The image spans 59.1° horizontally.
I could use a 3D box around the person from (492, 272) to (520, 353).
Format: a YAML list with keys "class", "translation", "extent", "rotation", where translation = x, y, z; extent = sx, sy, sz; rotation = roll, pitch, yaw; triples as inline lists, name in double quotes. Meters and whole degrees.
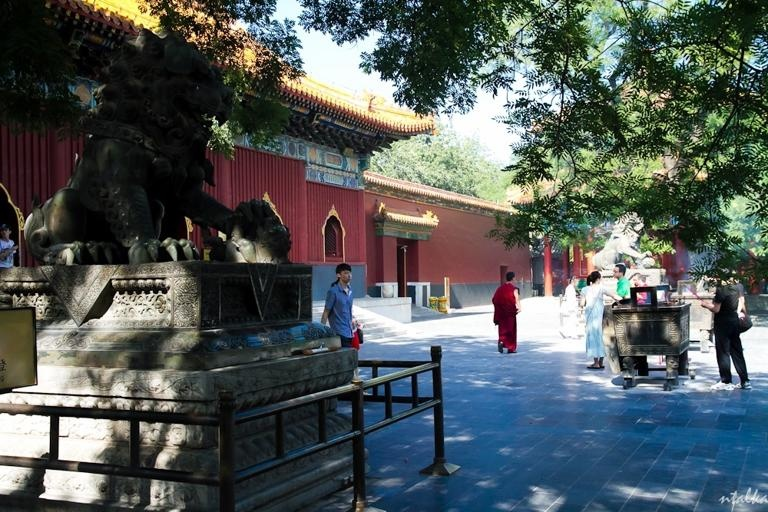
- class: "person"
  translation: [2.349, 1.047, 12.905]
  extent: [0.481, 1.519, 1.717]
  rotation: [-2, -4, 10]

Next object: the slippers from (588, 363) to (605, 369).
- class: "slippers"
  translation: [3.180, 1.669, 10.131]
  extent: [0.249, 0.057, 0.235]
  rotation: [-3, -4, 16]

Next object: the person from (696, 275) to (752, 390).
- class: "person"
  translation: [4.197, 1.002, 8.235]
  extent: [0.491, 1.259, 1.257]
  rotation: [-4, -5, 27]

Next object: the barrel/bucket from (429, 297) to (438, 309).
- class: "barrel/bucket"
  translation: [1.761, 1.664, 23.699]
  extent: [0.333, 0.456, 0.317]
  rotation: [0, -4, 0]

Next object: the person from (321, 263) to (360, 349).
- class: "person"
  translation: [-0.596, 0.657, 8.959]
  extent: [0.422, 1.152, 1.181]
  rotation: [-1, -4, -3]

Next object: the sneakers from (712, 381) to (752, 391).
- class: "sneakers"
  translation: [4.280, 1.608, 8.334]
  extent: [0.430, 0.186, 0.174]
  rotation: [1, -6, 4]

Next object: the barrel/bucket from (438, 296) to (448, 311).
- class: "barrel/bucket"
  translation: [2.054, 1.719, 23.684]
  extent: [0.329, 0.530, 0.626]
  rotation: [-2, -4, 1]

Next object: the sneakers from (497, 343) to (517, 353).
- class: "sneakers"
  translation: [2.294, 1.684, 12.271]
  extent: [0.495, 0.225, 0.161]
  rotation: [-1, 2, 7]
